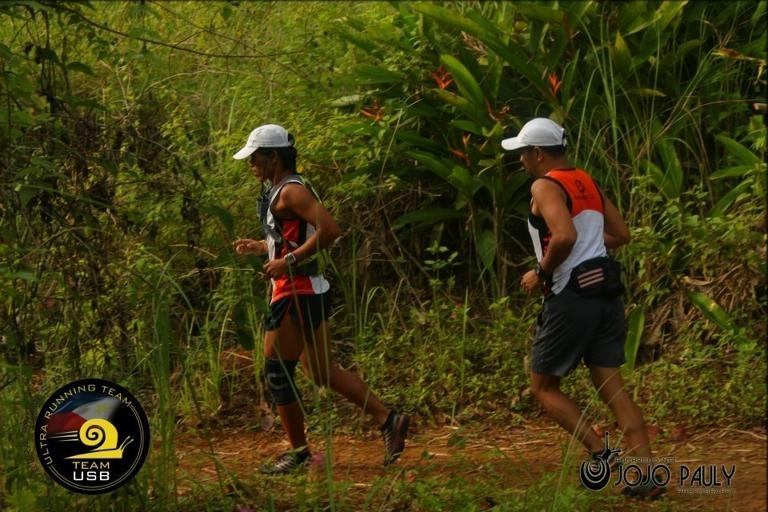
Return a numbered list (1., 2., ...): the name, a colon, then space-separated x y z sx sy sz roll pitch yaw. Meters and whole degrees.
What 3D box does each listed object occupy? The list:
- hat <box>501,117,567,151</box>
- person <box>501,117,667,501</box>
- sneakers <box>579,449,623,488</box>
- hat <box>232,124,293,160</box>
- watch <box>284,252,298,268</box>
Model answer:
1. hat: 0.960 -0.771 4.271 0.350 0.137 0.227 -3 10 11
2. person: 1.190 0.267 4.102 0.711 2.283 0.893 -9 7 9
3. sneakers: 1.271 1.275 3.955 0.234 0.199 0.181 -17 9 -39
4. hat: -0.840 -0.783 4.491 0.356 0.176 0.218 -2 8 -8
5. watch: -0.611 0.029 4.267 0.098 0.106 0.066 -17 14 -39
